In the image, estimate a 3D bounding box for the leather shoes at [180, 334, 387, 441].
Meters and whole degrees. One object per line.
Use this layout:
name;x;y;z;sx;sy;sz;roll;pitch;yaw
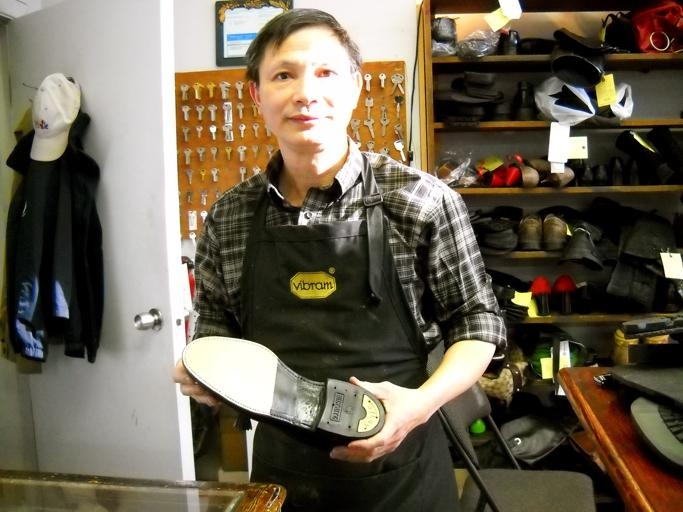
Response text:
leather shoes;-0.154;0.353;1.383;0.574;0.129;0.195;22;53;-3

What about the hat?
hat;-1.115;-0.545;2.130;0.193;0.343;0.119;-1;11;-2
